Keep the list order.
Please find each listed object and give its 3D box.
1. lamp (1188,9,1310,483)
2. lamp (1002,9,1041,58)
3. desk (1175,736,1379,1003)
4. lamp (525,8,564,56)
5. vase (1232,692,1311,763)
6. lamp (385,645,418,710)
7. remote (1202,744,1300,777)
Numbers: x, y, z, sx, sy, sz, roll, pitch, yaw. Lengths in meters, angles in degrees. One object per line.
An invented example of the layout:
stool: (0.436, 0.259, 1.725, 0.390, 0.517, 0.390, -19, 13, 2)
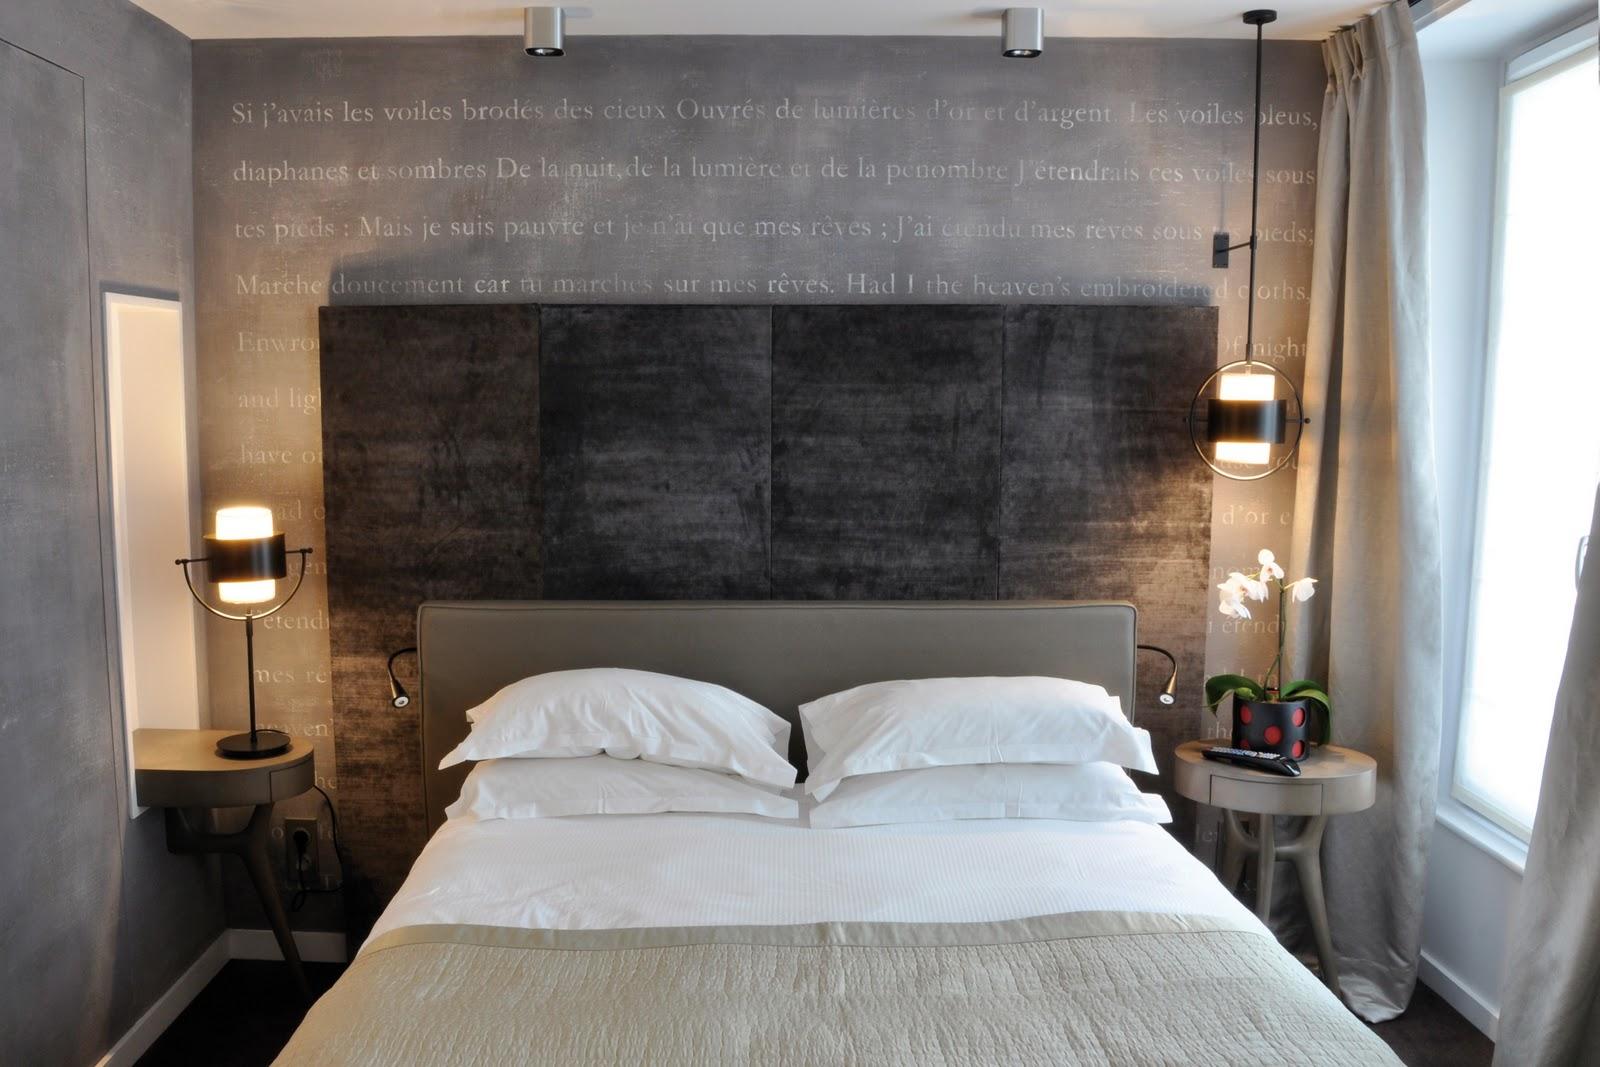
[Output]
lamp: (1.658, -1.032, 5.240, 0.365, 1.699, 0.425, 3, 9, 33)
lamp: (0.790, -1.783, 5.131, 0.140, 0.191, 0.140, 1, -8, 2)
desk: (1.798, 1.244, 5.250, 0.610, 0.771, 0.606, -2, 0, 7)
lamp: (-0.910, -1.806, 5.142, 0.151, 0.148, 0.182, -3, 6, -10)
vase: (1.712, 0.710, 5.206, 0.262, 0.215, 0.264, 4, -1, -22)
lamp: (-1.466, 0.540, 5.295, 0.172, 0.205, 0.056, -3, -1, -31)
remote: (1.611, 0.796, 5.064, 0.208, 0.042, 0.115, 6, 1, 44)
